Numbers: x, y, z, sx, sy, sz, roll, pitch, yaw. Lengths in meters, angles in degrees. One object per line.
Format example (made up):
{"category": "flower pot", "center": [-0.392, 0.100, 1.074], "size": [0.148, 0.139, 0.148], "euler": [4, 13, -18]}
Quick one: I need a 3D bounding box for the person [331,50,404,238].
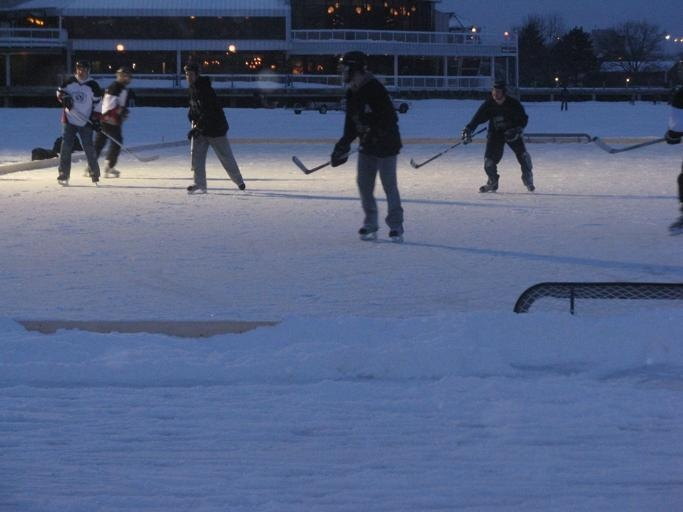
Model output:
{"category": "person", "center": [0.517, -1.323, 16.332], "size": [0.854, 2.068, 0.948], "euler": [16, 20, 34]}

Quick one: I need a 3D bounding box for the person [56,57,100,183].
{"category": "person", "center": [-3.804, -1.993, 20.323], "size": [0.640, 1.706, 0.677], "euler": [0, 2, -13]}

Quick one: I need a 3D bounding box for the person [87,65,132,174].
{"category": "person", "center": [-3.469, -2.070, 21.639], "size": [0.655, 1.704, 0.628], "euler": [-3, 10, -36]}

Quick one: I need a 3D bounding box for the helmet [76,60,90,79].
{"category": "helmet", "center": [-3.725, -2.701, 20.274], "size": [0.228, 0.279, 0.284], "euler": [1, -3, -11]}

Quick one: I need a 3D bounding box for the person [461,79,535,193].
{"category": "person", "center": [2.044, -1.719, 19.856], "size": [0.932, 1.642, 0.941], "euler": [-14, 19, -42]}

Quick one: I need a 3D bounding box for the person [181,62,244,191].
{"category": "person", "center": [-1.890, -1.822, 19.495], "size": [0.838, 1.707, 0.826], "euler": [5, 16, 12]}

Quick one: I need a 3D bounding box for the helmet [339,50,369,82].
{"category": "helmet", "center": [0.133, -2.151, 15.934], "size": [0.303, 0.364, 0.412], "euler": [0, 10, -2]}

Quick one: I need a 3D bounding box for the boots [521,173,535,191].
{"category": "boots", "center": [2.691, -1.062, 20.042], "size": [0.118, 0.333, 0.133], "euler": [-17, 11, -9]}
